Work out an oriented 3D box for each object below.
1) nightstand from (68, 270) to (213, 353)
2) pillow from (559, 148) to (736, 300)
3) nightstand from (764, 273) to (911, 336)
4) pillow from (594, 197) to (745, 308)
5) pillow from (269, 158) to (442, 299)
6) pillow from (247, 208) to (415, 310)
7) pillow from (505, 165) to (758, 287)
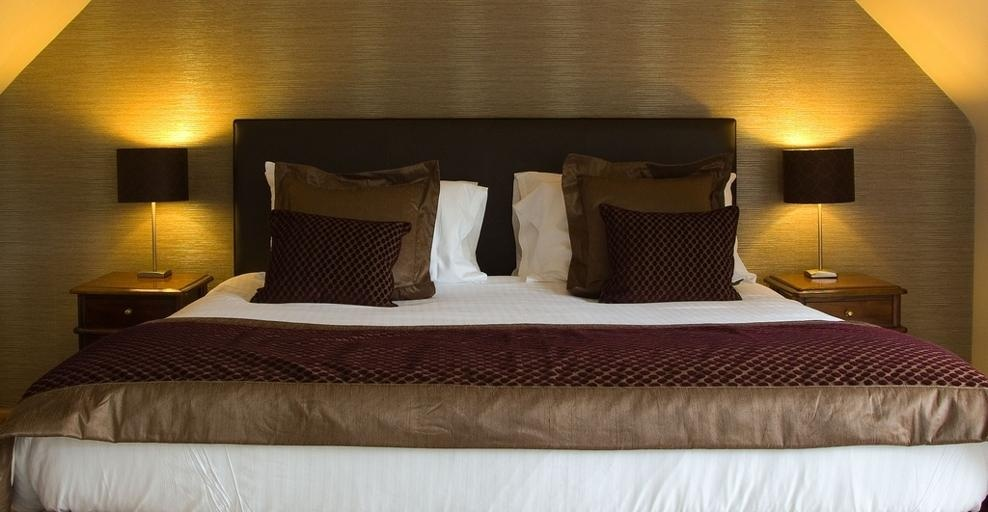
[{"bbox_3d":[-2.430,0.335,5.723,1.005,0.629,0.638,0,5,-1],"label":"nightstand"},{"bbox_3d":[0.876,-0.248,5.282,1.379,0.944,0.348,0,-16,8],"label":"pillow"},{"bbox_3d":[2.435,0.275,5.654,0.833,0.557,0.509,-1,6,-7],"label":"nightstand"},{"bbox_3d":[1.099,-0.008,5.048,1.075,0.484,0.298,0,9,1],"label":"pillow"},{"bbox_3d":[-0.789,-0.159,5.411,1.291,0.873,0.326,-1,-1,-5],"label":"pillow"},{"bbox_3d":[-0.988,0.027,4.994,1.006,0.436,0.281,2,0,2],"label":"pillow"},{"bbox_3d":[0.873,-0.199,5.274,1.375,0.843,0.321,-3,2,1],"label":"pillow"}]
